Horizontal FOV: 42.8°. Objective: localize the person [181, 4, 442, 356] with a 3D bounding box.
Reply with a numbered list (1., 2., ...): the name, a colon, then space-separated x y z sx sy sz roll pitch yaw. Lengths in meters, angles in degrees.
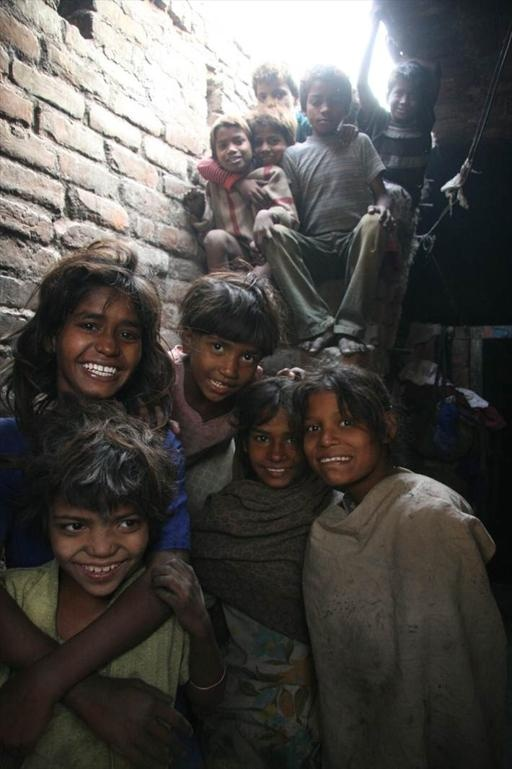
1. person: 0.253 -0.581 1.920 0.389 0.888 0.639 -4 23 -33
